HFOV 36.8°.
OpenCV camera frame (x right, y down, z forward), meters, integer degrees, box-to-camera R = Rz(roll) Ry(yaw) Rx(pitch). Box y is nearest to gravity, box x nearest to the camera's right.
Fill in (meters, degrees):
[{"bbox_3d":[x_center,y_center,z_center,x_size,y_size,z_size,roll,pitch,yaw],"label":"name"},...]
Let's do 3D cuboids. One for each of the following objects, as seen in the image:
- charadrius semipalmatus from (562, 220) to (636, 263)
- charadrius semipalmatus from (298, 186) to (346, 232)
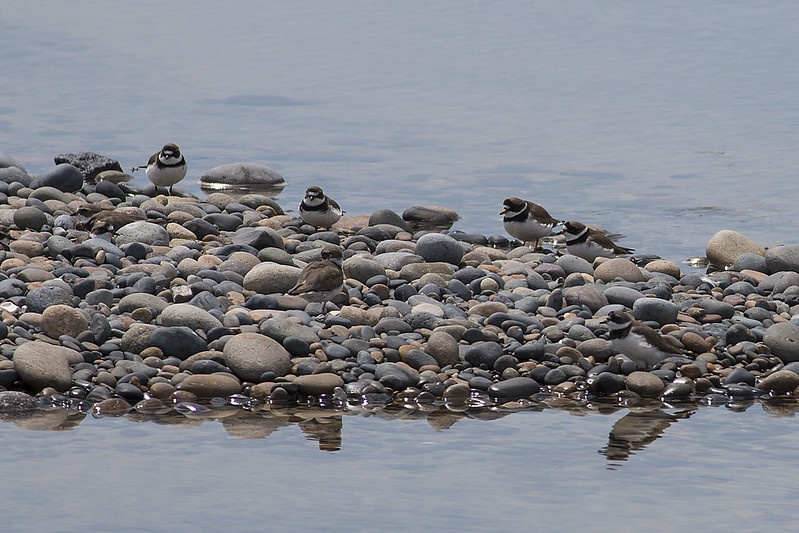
[{"bbox_3d":[3.317,-0.424,20.840,0.938,0.819,0.392,1,35,4],"label":"charadrius semipalmatus"},{"bbox_3d":[-1.351,-1.018,20.811,0.709,0.864,0.256,-3,37,-2],"label":"charadrius semipalmatus"}]
